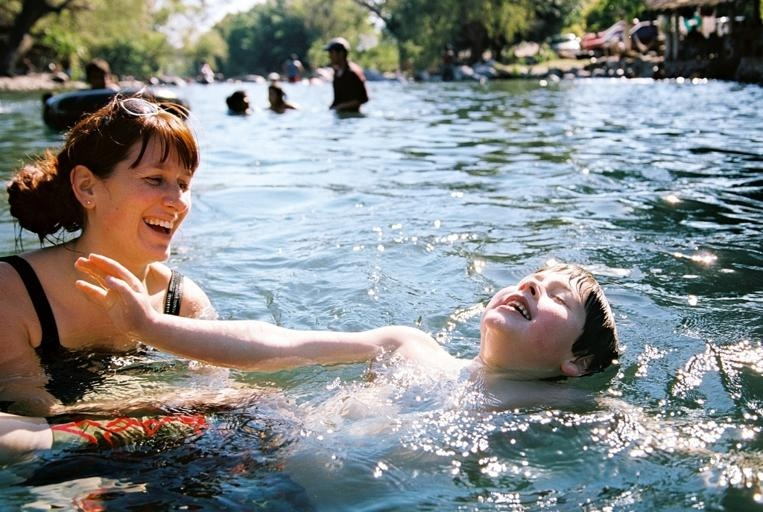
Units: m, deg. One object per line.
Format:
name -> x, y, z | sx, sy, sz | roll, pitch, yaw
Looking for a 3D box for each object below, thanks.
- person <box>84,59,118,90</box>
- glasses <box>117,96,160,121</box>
person -> -5.966, -3.791, 15.451 | 0.450, 0.644, 1.976 | -7, 14, -21
glasses -> -1.366, -0.807, 4.151 | 0.177, 0.039, 0.155 | 10, 25, 1
